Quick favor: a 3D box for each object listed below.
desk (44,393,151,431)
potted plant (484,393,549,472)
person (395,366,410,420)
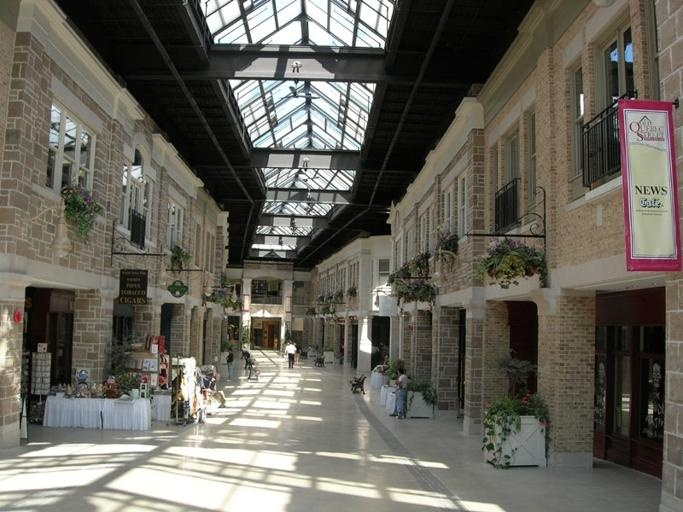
[{"bbox_3d":[-6.235,4.006,14.479,1.963,0.598,1.174,2,-6,-6],"label":"desk"},{"bbox_3d":[3.716,3.746,12.274,1.246,1.850,1.359,3,-8,-2],"label":"potted plant"},{"bbox_3d":[1.887,4.448,18.396,0.457,1.497,0.441,11,-14,-36],"label":"person"}]
